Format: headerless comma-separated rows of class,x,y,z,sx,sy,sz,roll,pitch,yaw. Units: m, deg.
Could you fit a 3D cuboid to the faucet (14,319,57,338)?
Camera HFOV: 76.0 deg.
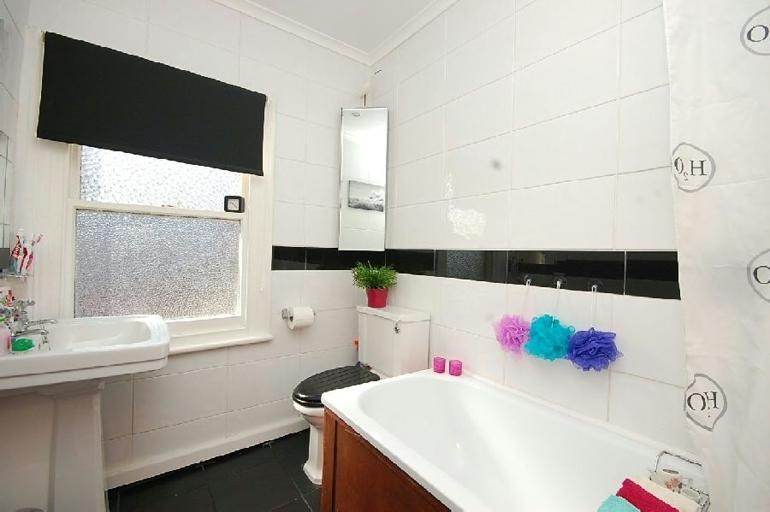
faucet,-1.893,0.384,2.679,0.178,0.087,0.290,0,1,-21

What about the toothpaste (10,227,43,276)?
toothpaste,-2.039,-0.014,2.807,0.148,0.242,0.140,0,0,-37

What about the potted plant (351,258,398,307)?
potted plant,-0.077,0.184,3.689,0.281,0.368,0.357,-1,3,-22

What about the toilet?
toilet,-0.166,0.936,3.414,0.918,1.119,0.737,0,2,-34

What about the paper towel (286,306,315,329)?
paper towel,-0.600,0.436,3.528,0.183,0.169,0.150,-6,8,-37

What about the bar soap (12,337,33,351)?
bar soap,-1.868,0.450,2.525,0.087,0.065,0.090,0,1,15

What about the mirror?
mirror,-0.152,-0.729,3.787,0.358,0.034,0.907,-4,-44,-5
